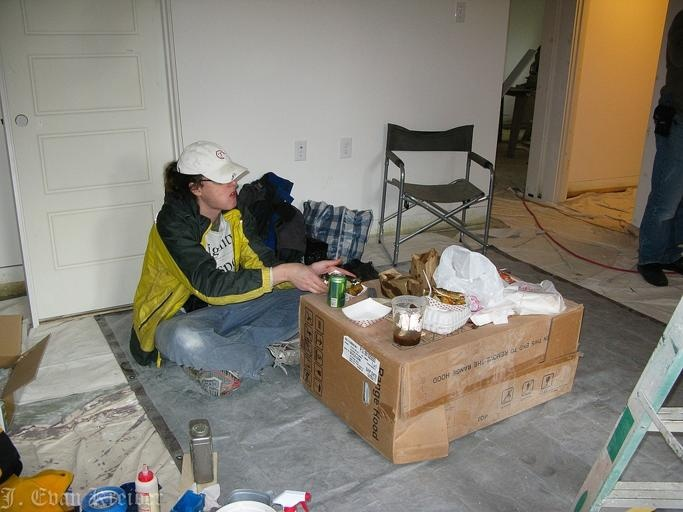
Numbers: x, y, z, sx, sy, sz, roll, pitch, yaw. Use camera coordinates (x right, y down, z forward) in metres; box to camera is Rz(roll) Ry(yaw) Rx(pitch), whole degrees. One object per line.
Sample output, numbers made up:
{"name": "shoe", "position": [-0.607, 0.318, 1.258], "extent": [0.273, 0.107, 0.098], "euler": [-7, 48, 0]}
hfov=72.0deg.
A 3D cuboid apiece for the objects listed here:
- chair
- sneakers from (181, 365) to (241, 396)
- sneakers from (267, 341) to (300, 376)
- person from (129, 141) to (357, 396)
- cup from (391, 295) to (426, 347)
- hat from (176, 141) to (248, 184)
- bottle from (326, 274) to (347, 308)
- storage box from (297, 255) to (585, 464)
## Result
{"name": "chair", "position": [0.733, -0.500, 3.678], "extent": [0.769, 1.007, 0.647], "euler": [-4, 22, -14]}
{"name": "sneakers", "position": [-0.605, 0.571, 2.221], "extent": [0.187, 0.084, 0.122], "euler": [10, 17, 7]}
{"name": "sneakers", "position": [-0.271, 0.506, 2.417], "extent": [0.171, 0.186, 0.216], "euler": [12, -25, -30]}
{"name": "person", "position": [-0.590, -0.012, 2.656], "extent": [1.154, 1.255, 1.248], "euler": [12, 25, 18]}
{"name": "cup", "position": [0.249, 0.239, 1.761], "extent": [0.153, 0.178, 0.156], "euler": [1, 2, 0]}
{"name": "hat", "position": [-0.610, -0.441, 2.208], "extent": [0.275, 0.118, 0.186], "euler": [12, 27, 6]}
{"name": "bottle", "position": [-0.019, 0.142, 2.019], "extent": [0.078, 0.132, 0.079], "euler": [5, 23, -2]}
{"name": "storage box", "position": [0.483, 0.411, 2.226], "extent": [1.068, 0.489, 0.772], "euler": [-11, 22, -30]}
